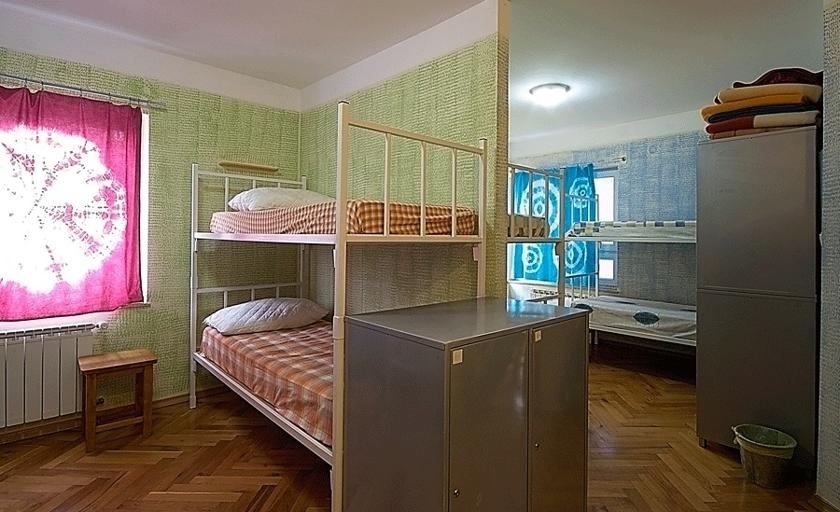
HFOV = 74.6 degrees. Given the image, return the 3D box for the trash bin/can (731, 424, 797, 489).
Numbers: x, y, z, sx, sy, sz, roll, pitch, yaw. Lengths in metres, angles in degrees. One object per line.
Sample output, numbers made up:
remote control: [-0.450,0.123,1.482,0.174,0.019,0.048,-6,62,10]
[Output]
trash bin/can: [2.732,1.586,4.501,0.452,0.385,0.458,2,6,15]

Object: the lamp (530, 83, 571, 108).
lamp: [1.420,-1.756,6.012,0.447,0.133,0.509,-2,4,17]

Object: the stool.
stool: [-2.712,1.202,4.921,0.833,0.830,0.614,2,-3,-34]
